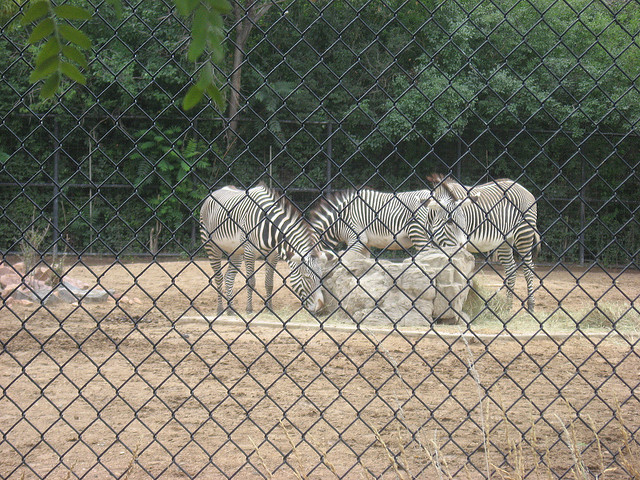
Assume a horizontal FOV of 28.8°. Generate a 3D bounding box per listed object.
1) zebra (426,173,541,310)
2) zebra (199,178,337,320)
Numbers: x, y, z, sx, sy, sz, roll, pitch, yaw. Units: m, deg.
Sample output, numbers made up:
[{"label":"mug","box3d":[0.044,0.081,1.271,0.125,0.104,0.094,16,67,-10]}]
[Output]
[{"label":"zebra","box3d":[2.703,0.109,23.467,3.832,0.964,2.714,0,95,-35]},{"label":"zebra","box3d":[-1.082,0.250,22.713,1.088,3.638,2.345,-4,100,-36]}]
